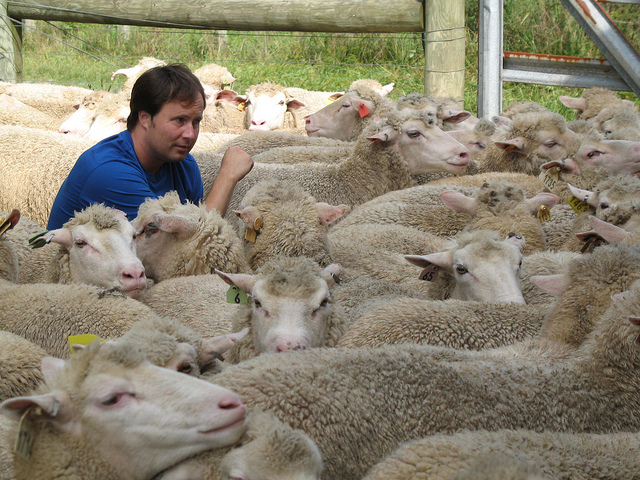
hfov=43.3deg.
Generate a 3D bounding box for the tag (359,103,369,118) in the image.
[{"bbox_3d":[0.464,-1.410,8.851,0.104,0.118,0.119,-7,24,-21],"label":"tag"}]

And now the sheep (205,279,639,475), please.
[{"bbox_3d":[0.600,0.851,4.431,2.459,1.217,0.819,-3,21,-5],"label":"sheep"}]

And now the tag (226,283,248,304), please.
[{"bbox_3d":[-0.487,0.323,4.811,0.146,0.142,0.025,0,5,7],"label":"tag"}]

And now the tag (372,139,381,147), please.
[{"bbox_3d":[0.530,-0.900,7.502,0.037,0.068,0.026,23,40,-8],"label":"tag"}]

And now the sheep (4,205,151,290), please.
[{"bbox_3d":[-1.630,0.070,5.476,1.162,0.536,0.579,-2,4,35],"label":"sheep"}]

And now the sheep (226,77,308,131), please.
[{"bbox_3d":[-0.732,-1.842,11.233,0.785,0.696,1.108,-4,15,1],"label":"sheep"}]

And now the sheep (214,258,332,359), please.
[{"bbox_3d":[-0.265,0.366,4.602,0.454,0.534,0.716,-3,1,-3],"label":"sheep"}]

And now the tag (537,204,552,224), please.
[{"bbox_3d":[1.706,-0.195,6.087,0.097,0.096,0.132,-11,-5,-4],"label":"tag"}]

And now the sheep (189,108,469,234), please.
[{"bbox_3d":[-0.135,-0.309,7.749,2.945,1.602,1.020,-1,-16,3],"label":"sheep"}]

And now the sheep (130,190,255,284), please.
[{"bbox_3d":[-0.872,0.151,5.841,1.049,0.827,0.526,-2,-4,-11],"label":"sheep"}]

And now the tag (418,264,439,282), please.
[{"bbox_3d":[0.766,0.233,5.660,0.190,0.203,0.016,-2,50,-36],"label":"tag"}]

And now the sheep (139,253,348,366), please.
[{"bbox_3d":[-0.431,0.370,4.995,0.629,0.686,1.218,-11,10,-44],"label":"sheep"}]

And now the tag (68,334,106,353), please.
[{"bbox_3d":[-1.218,0.523,4.204,0.187,0.128,0.139,-1,0,-4],"label":"tag"}]

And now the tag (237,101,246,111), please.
[{"bbox_3d":[-1.117,-1.928,11.620,0.091,0.113,0.041,11,-25,-29],"label":"tag"}]

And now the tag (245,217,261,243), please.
[{"bbox_3d":[-0.429,-0.066,5.587,0.161,0.147,0.097,10,14,15],"label":"tag"}]

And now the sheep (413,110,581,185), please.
[{"bbox_3d":[1.716,-0.913,7.594,1.182,0.520,0.724,-15,35,30],"label":"sheep"}]

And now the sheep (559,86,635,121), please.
[{"bbox_3d":[3.374,-1.680,9.827,0.715,0.387,0.539,-8,19,-26],"label":"sheep"}]

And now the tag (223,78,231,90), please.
[{"bbox_3d":[-1.454,-2.438,12.678,0.143,0.174,0.056,1,-10,-5],"label":"tag"}]

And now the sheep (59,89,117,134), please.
[{"bbox_3d":[-3.187,-1.734,10.948,0.412,0.406,0.784,12,44,34],"label":"sheep"}]

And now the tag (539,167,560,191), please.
[{"bbox_3d":[2.019,-0.537,7.093,0.054,0.133,0.219,-26,31,55],"label":"tag"}]

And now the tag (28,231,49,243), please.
[{"bbox_3d":[-1.838,-0.003,5.258,0.089,0.032,0.080,-27,0,35],"label":"tag"}]

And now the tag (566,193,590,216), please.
[{"bbox_3d":[2.016,-0.274,6.384,0.139,0.132,0.144,34,10,-11],"label":"tag"}]

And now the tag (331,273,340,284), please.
[{"bbox_3d":[0.098,0.236,4.892,0.038,0.070,0.021,-57,11,-20],"label":"tag"}]

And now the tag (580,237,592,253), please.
[{"bbox_3d":[1.921,0.044,5.834,0.075,0.017,0.075,-49,-2,-21],"label":"tag"}]
